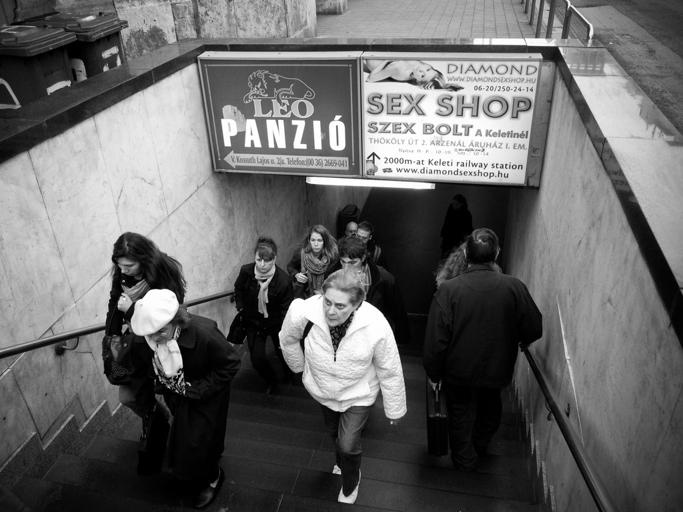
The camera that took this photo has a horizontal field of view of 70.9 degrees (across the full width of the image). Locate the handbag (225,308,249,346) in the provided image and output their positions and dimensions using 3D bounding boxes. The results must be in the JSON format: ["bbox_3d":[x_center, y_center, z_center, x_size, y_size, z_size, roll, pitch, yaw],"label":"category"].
[{"bbox_3d":[-1.051,0.728,4.987,0.144,0.365,0.149,1,27,-17],"label":"handbag"}]

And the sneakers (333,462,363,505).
[{"bbox_3d":[0.041,1.686,3.581,0.117,0.149,0.379,2,38,17],"label":"sneakers"}]

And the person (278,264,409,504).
[{"bbox_3d":[-0.019,0.921,3.451,0.857,1.808,0.553,12,23,35],"label":"person"}]

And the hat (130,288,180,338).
[{"bbox_3d":[-1.140,0.346,2.936,0.260,0.258,0.217,3,20,13],"label":"hat"}]

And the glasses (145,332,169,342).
[{"bbox_3d":[-1.114,0.499,2.933,0.077,0.036,0.093,-2,-3,1],"label":"glasses"}]

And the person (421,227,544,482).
[{"bbox_3d":[1.074,0.857,3.834,0.883,2.072,0.366,-7,19,-15],"label":"person"}]

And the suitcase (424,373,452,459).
[{"bbox_3d":[0.790,1.307,3.889,0.192,0.527,0.638,-1,41,10],"label":"suitcase"}]

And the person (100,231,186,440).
[{"bbox_3d":[-1.471,0.442,3.739,0.528,1.459,0.412,4,33,-11],"label":"person"}]

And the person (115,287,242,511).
[{"bbox_3d":[-1.036,0.933,3.226,0.729,1.566,0.376,-10,20,-22],"label":"person"}]

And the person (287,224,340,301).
[{"bbox_3d":[-0.317,0.324,5.326,0.584,1.244,0.429,5,20,-1],"label":"person"}]
